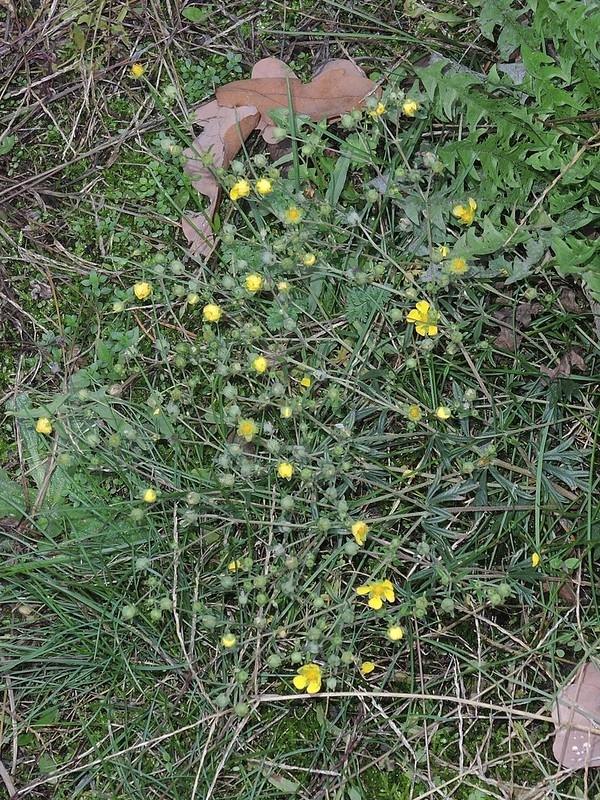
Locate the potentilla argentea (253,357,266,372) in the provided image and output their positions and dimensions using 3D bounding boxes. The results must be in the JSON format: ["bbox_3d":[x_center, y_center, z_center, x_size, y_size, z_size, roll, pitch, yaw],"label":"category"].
[{"bbox_3d":[-0.080,-0.074,1.481,0.025,0.047,0.029,13,88,2],"label":"potentilla argentea"}]

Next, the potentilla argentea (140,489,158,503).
[{"bbox_3d":[-0.289,0.183,1.442,0.032,0.016,0.028,14,73,13],"label":"potentilla argentea"}]

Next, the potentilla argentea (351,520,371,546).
[{"bbox_3d":[0.115,0.256,1.476,0.036,0.026,0.051,-19,98,-29],"label":"potentilla argentea"}]

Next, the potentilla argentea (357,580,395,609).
[{"bbox_3d":[0.144,0.376,1.501,0.084,0.028,0.067,0,82,-15],"label":"potentilla argentea"}]

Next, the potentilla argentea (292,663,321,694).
[{"bbox_3d":[0.014,0.557,1.505,0.052,0.094,0.077,6,87,2],"label":"potentilla argentea"}]
